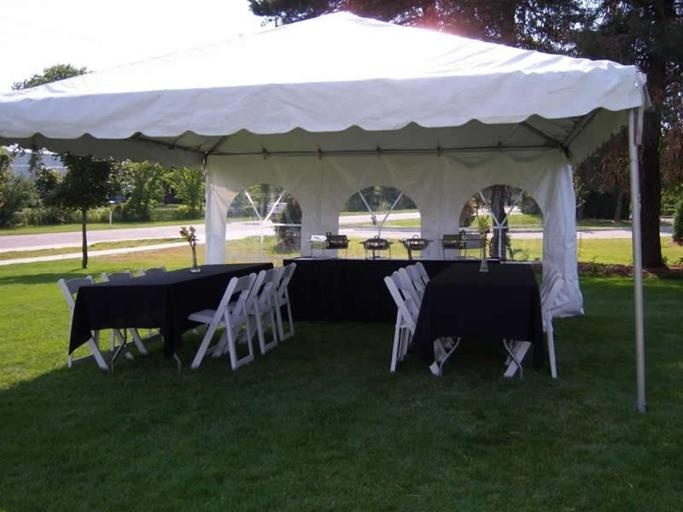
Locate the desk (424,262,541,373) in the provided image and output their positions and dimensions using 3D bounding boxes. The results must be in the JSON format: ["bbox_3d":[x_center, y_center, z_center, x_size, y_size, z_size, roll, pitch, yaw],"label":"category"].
[{"bbox_3d":[1.654,0.775,6.917,0.962,0.583,1.943,1,4,13],"label":"desk"}]

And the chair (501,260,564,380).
[{"bbox_3d":[2.218,0.864,7.303,0.979,0.618,1.416,-1,7,18],"label":"chair"}]
